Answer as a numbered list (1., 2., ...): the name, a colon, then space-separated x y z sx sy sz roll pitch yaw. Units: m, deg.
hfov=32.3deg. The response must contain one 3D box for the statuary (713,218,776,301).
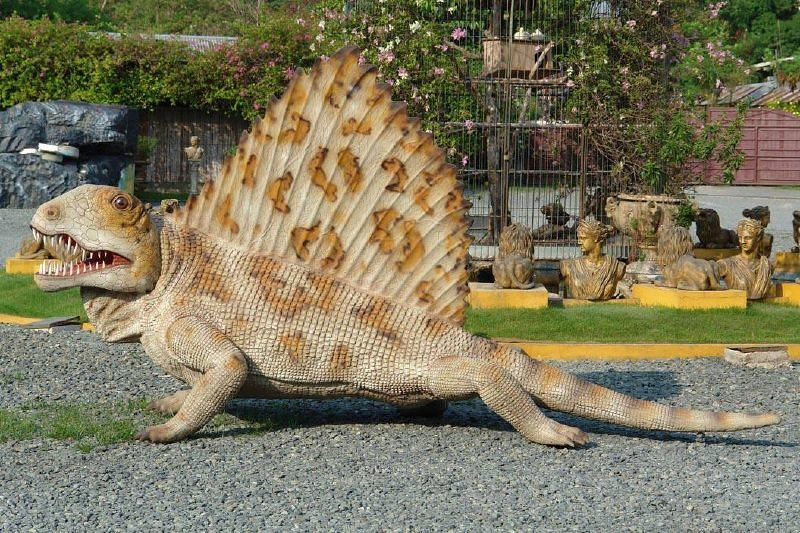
1. statuary: 5.923 -0.085 23.992 1.291 1.338 0.508 -2 5 -11

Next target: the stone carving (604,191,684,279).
1. stone carving: 4.636 -0.719 26.017 1.491 1.612 1.572 -2 11 13

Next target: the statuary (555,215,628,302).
1. statuary: 3.375 -0.104 24.475 1.378 1.743 0.649 -1 5 8

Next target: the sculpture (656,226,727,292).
1. sculpture: 4.990 -0.108 23.657 0.741 1.088 1.507 -1 7 -39

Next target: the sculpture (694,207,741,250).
1. sculpture: 6.201 -0.738 27.291 0.694 0.823 1.711 4 0 39

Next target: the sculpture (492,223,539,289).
1. sculpture: 1.972 -0.163 23.867 0.748 0.615 1.468 0 38 10
